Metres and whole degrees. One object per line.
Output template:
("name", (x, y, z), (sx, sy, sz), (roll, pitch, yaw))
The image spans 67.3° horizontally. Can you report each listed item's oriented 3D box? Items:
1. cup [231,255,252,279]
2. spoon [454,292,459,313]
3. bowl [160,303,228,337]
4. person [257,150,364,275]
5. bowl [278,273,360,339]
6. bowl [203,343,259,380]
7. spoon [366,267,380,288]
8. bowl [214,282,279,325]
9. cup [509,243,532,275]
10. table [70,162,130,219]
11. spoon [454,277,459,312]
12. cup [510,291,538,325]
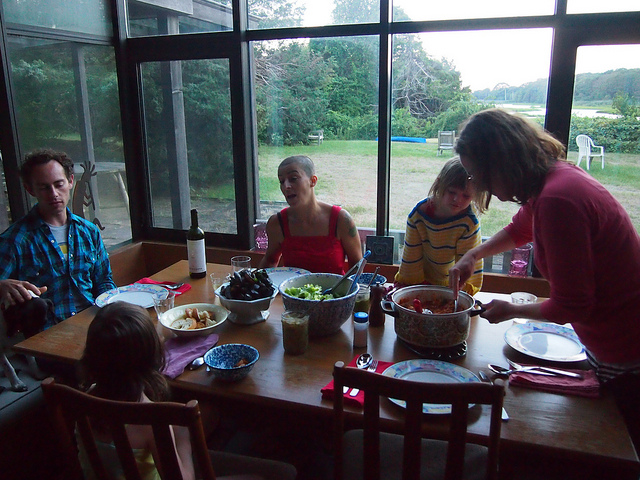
("cup", (-0.415, 0.141, 2.635), (0.120, 0.135, 0.122), (-2, 2, 0))
("spoon", (0.574, 0.267, 2.019), (0.015, 0.111, 0.016), (19, -37, -2))
("bowl", (-0.572, 0.362, 2.186), (0.234, 0.098, 0.262), (5, 6, 12))
("person", (-0.027, -0.186, 3.108), (0.719, 0.806, 0.510), (-9, -15, 32))
("bowl", (0.016, 0.281, 2.177), (0.289, 0.173, 0.296), (-1, 9, 0))
("bowl", (-0.344, 0.474, 1.861), (0.178, 0.072, 0.185), (-2, 15, 0))
("spoon", (0.281, 0.195, 2.527), (0.014, 0.108, 0.015), (31, 22, 5))
("bowl", (-0.331, 0.317, 2.250), (0.242, 0.111, 0.237), (-3, 4, 0))
("cup", (1.334, 0.148, 3.224), (0.132, 0.213, 0.139), (5, -3, 0))
("table", (-1.755, -0.419, 3.789), (0.403, 0.454, 0.400), (-5, 15, -29))
("spoon", (0.589, 0.230, 2.066), (0.025, 0.153, 0.021), (7, -24, 11))
("cup", (0.859, 0.289, 2.026), (0.112, 0.107, 0.127), (-2, 10, -4))
